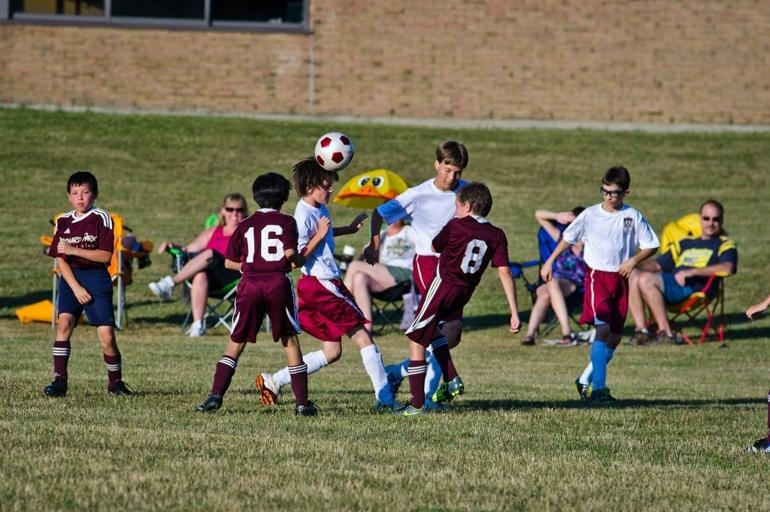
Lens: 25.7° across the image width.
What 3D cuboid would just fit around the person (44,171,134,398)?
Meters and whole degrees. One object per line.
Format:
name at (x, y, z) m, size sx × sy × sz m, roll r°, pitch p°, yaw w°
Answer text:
person at (-4.761, 0.402, 26.966) m, size 1.231 × 3.532 × 0.691 m, roll 2°, pitch 2°, yaw -11°

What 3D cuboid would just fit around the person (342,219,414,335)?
person at (-0.127, 0.326, 31.195) m, size 1.092 × 2.204 × 1.065 m, roll 3°, pitch -1°, yaw -6°

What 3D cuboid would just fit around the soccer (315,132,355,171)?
soccer at (-0.886, -1.682, 27.129) m, size 0.612 × 0.728 × 0.601 m, roll -3°, pitch -8°, yaw 7°

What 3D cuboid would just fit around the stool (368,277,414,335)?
stool at (0.331, 0.558, 31.159) m, size 0.247 × 0.335 × 0.435 m, roll -33°, pitch -23°, yaw 32°

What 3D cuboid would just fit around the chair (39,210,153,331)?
chair at (-4.824, 0.140, 31.388) m, size 2.568 × 3.152 × 1.982 m, roll -1°, pitch -4°, yaw 10°

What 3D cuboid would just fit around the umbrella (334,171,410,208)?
umbrella at (-0.261, -1.261, 31.556) m, size 1.084 × 0.486 × 1.114 m, roll -4°, pitch -4°, yaw -3°

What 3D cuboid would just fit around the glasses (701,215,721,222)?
glasses at (5.866, -0.703, 30.412) m, size 0.350 × 0.127 × 0.180 m, roll 3°, pitch 2°, yaw 10°

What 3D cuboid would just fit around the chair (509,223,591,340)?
chair at (3.171, 0.402, 30.938) m, size 1.690 × 2.409 × 1.904 m, roll 3°, pitch 5°, yaw 39°

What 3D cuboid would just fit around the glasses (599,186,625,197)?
glasses at (3.689, -1.069, 27.364) m, size 0.378 × 0.137 × 0.183 m, roll 3°, pitch 2°, yaw 6°
